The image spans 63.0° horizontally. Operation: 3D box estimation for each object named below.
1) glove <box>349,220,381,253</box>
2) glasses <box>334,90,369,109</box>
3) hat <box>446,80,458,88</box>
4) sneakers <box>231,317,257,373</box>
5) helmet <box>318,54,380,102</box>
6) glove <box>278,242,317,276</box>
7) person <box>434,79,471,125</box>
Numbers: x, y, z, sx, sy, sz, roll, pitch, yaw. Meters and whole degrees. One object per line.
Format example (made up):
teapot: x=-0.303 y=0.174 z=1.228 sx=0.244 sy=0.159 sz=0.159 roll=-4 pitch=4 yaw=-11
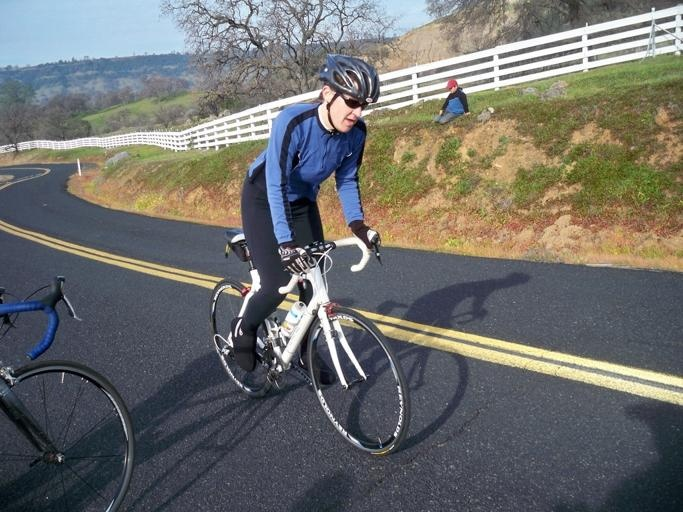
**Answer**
glove: x=0.212 y=-0.239 z=5.668 sx=0.191 sy=0.158 sz=0.359 roll=9 pitch=31 yaw=-53
glasses: x=0.097 y=-1.499 z=5.336 sx=0.191 sy=0.069 sz=0.200 roll=12 pitch=28 yaw=-51
hat: x=3.213 y=-5.022 z=16.285 sx=0.326 sy=0.228 sz=0.246 roll=-14 pitch=12 yaw=-36
sneakers: x=-1.062 y=0.924 z=6.197 sx=0.228 sy=0.637 sz=0.239 roll=-4 pitch=9 yaw=0
helmet: x=0.078 y=-1.809 z=5.334 sx=0.375 sy=0.242 sz=0.561 roll=10 pitch=24 yaw=-42
glove: x=-0.429 y=0.017 z=5.300 sx=0.181 sy=0.262 sz=0.364 roll=-21 pitch=7 yaw=-33
person: x=2.979 y=-4.238 z=15.198 sx=0.763 sy=1.175 sz=0.642 roll=-2 pitch=21 yaw=11
